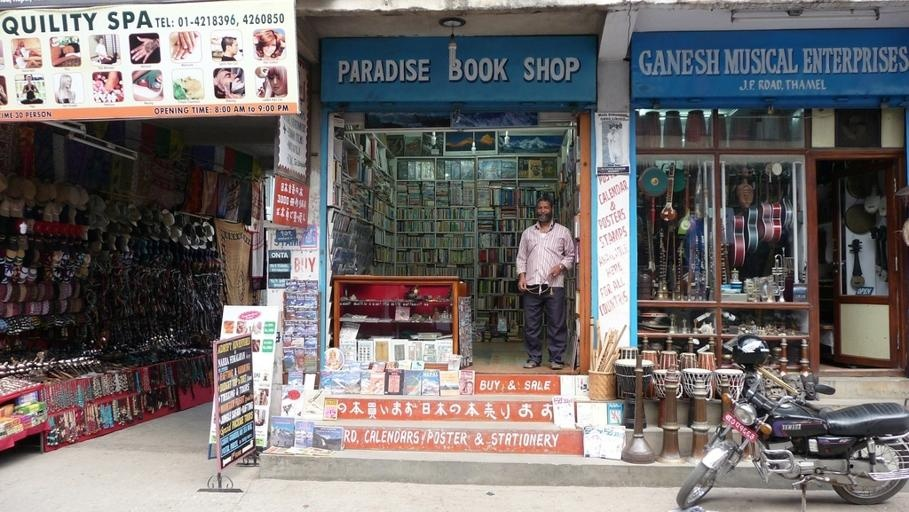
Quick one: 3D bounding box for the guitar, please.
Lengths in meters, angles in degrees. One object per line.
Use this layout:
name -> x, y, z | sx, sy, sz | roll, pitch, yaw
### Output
guitar -> 4.487, -0.539, 11.167 | 0.911, 1.586, 0.393 | 0, 1, 11

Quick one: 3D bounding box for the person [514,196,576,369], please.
person -> 1.376, 0.393, 11.530 | 0.982, 2.574, 0.714 | -2, -5, 21

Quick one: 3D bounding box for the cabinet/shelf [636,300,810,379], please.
cabinet/shelf -> 4.046, 1.212, 11.235 | 2.235, 1.051, 0.443 | -1, 0, -10
